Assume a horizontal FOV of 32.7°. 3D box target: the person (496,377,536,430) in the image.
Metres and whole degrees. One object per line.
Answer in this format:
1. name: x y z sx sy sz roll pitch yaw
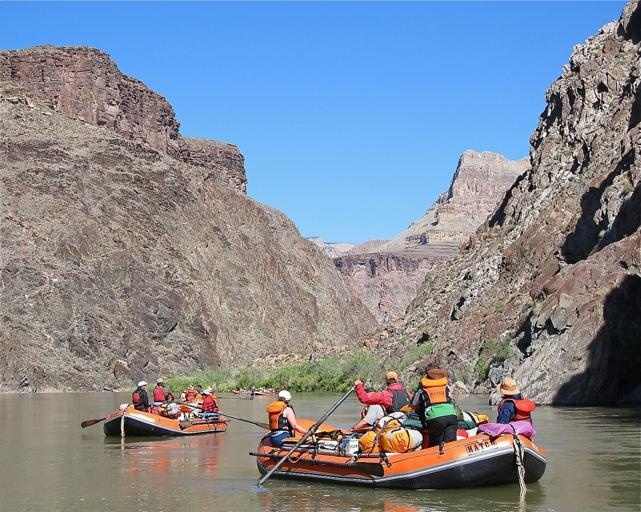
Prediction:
1. person: 6.190 4.723 35.415 1.051 1.621 0.932 -3 -11 6

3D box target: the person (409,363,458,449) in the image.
1. person: 3.584 4.733 34.623 1.328 2.459 1.136 -3 -15 5

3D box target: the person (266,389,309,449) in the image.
1. person: -1.130 5.613 37.666 1.008 2.115 1.110 3 -12 -42

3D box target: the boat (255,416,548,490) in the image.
1. boat: 2.967 6.486 35.112 7.746 1.942 1.444 -5 -15 12
